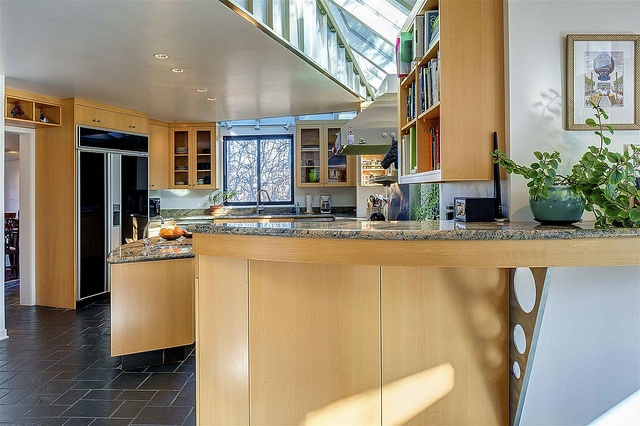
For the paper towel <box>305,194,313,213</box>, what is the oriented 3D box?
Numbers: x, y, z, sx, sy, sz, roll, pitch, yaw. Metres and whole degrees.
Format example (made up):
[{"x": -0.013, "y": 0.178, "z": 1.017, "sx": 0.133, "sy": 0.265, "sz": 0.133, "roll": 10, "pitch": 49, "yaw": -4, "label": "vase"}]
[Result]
[{"x": -0.201, "y": -0.181, "z": 8.312, "sx": 0.138, "sy": 0.317, "sz": 0.120, "roll": -1, "pitch": 9, "yaw": -3, "label": "paper towel"}]

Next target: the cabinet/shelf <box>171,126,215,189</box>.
[{"x": -2.270, "y": -1.023, "z": 8.127, "sx": 0.819, "sy": 1.127, "sz": 0.378, "roll": -2, "pitch": 9, "yaw": -11, "label": "cabinet/shelf"}]

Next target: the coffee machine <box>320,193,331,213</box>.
[{"x": 0.104, "y": -0.164, "z": 8.220, "sx": 0.199, "sy": 0.327, "sz": 0.294, "roll": -1, "pitch": 9, "yaw": 0, "label": "coffee machine"}]

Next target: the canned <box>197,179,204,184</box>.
[{"x": -2.144, "y": -0.567, "z": 8.149, "sx": 0.093, "sy": 0.084, "sz": 0.094, "roll": 0, "pitch": -1, "yaw": 3, "label": "canned"}]

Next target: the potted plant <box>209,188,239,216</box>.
[{"x": -1.838, "y": -0.206, "z": 8.392, "sx": 0.462, "sy": 0.626, "sz": 0.470, "roll": 2, "pitch": -1, "yaw": 29, "label": "potted plant"}]

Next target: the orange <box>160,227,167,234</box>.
[{"x": -1.756, "y": 0.220, "z": 5.082, "sx": 0.074, "sy": 0.076, "sz": 0.058, "roll": -5, "pitch": 10, "yaw": -23, "label": "orange"}]

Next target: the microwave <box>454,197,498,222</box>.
[{"x": 1.166, "y": 0.017, "z": 3.356, "sx": 0.175, "sy": 0.155, "sz": 0.252, "roll": 2, "pitch": -3, "yaw": -9, "label": "microwave"}]

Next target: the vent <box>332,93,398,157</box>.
[{"x": 0.732, "y": -0.982, "z": 5.670, "sx": 0.752, "sy": 0.527, "sz": 1.045, "roll": 1, "pitch": -8, "yaw": 11, "label": "vent"}]

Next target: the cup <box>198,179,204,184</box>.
[{"x": -2.145, "y": -0.566, "z": 8.147, "sx": 0.090, "sy": 0.087, "sz": 0.090, "roll": 1, "pitch": -1, "yaw": 0, "label": "cup"}]

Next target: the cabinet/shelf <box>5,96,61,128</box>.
[{"x": -3.866, "y": -1.356, "z": 6.090, "sx": 0.661, "sy": 0.366, "sz": 0.339, "roll": -8, "pitch": 12, "yaw": -39, "label": "cabinet/shelf"}]

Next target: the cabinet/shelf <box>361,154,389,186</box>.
[{"x": 0.802, "y": -0.646, "z": 6.521, "sx": 0.549, "sy": 0.651, "sz": 0.209, "roll": 0, "pitch": 3, "yaw": 3, "label": "cabinet/shelf"}]

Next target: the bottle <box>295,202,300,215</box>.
[{"x": -0.401, "y": -0.092, "z": 8.269, "sx": 0.103, "sy": 0.191, "sz": 0.261, "roll": -1, "pitch": 9, "yaw": -2, "label": "bottle"}]
